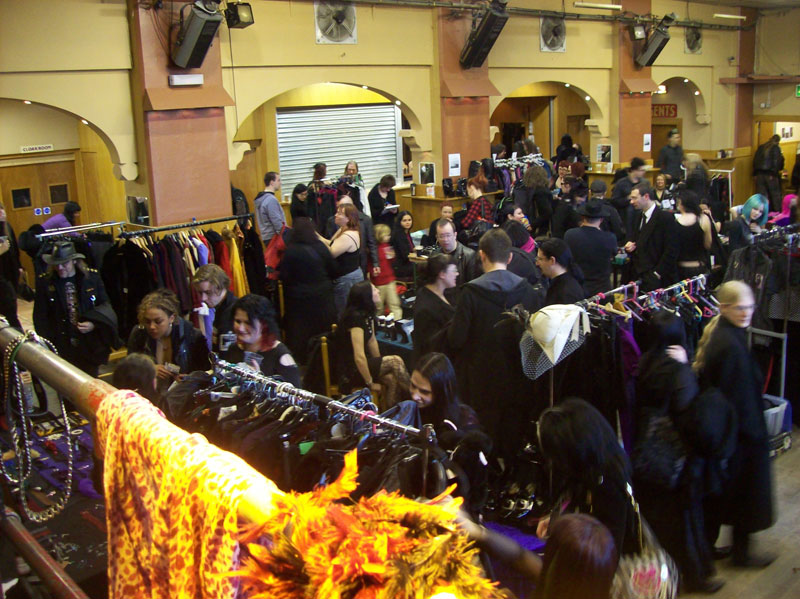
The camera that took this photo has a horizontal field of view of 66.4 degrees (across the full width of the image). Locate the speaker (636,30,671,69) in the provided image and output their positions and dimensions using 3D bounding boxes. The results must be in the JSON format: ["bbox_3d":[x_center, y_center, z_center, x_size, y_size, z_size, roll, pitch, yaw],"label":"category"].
[{"bbox_3d":[5.253,-5.230,12.773,0.433,0.572,0.728,13,-6,-11],"label":"speaker"}]

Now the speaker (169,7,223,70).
[{"bbox_3d":[-2.427,-3.073,7.172,0.390,0.730,0.513,42,35,16],"label":"speaker"}]

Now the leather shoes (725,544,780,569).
[{"bbox_3d":[2.268,1.657,3.952,0.220,0.167,0.091,-8,23,1],"label":"leather shoes"}]

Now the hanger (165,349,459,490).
[{"bbox_3d":[-0.370,0.491,2.631,1.100,0.513,0.389,19,20,39],"label":"hanger"}]

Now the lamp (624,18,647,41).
[{"bbox_3d":[4.806,-5.469,12.388,0.312,0.332,0.580,0,10,-2],"label":"lamp"}]

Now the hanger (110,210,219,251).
[{"bbox_3d":[-2.658,-0.792,7.000,0.888,0.351,0.275,-14,27,-16],"label":"hanger"}]

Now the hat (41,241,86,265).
[{"bbox_3d":[-3.155,-0.442,5.744,0.262,0.130,0.303,27,29,24],"label":"hat"}]

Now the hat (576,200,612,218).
[{"bbox_3d":[2.109,-0.992,6.668,0.280,0.085,0.303,-2,26,-1],"label":"hat"}]

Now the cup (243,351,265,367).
[{"bbox_3d":[-0.848,0.342,3.583,0.090,0.106,0.093,2,17,-1],"label":"cup"}]
